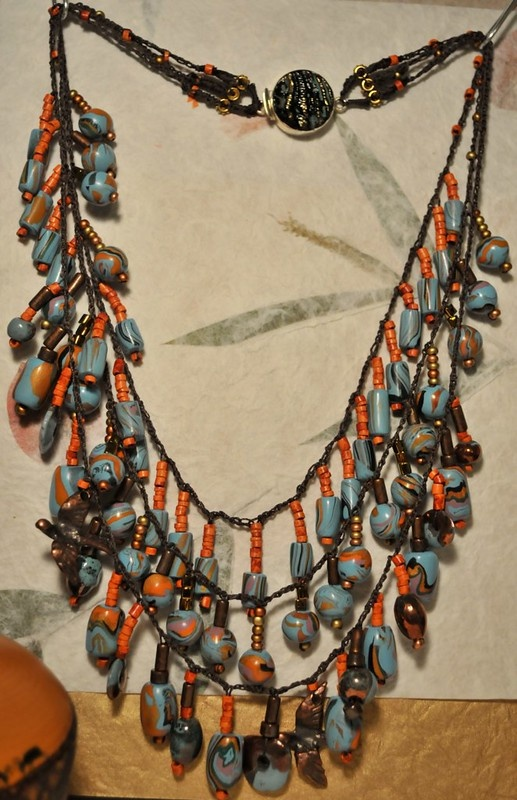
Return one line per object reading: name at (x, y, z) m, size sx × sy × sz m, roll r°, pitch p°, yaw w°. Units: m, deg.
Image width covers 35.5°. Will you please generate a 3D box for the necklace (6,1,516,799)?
necklace at (0.019, -0.025, 1.451) m, size 0.906 × 1.162 × 0.272 m, roll 0°, pitch -2°, yaw -2°
